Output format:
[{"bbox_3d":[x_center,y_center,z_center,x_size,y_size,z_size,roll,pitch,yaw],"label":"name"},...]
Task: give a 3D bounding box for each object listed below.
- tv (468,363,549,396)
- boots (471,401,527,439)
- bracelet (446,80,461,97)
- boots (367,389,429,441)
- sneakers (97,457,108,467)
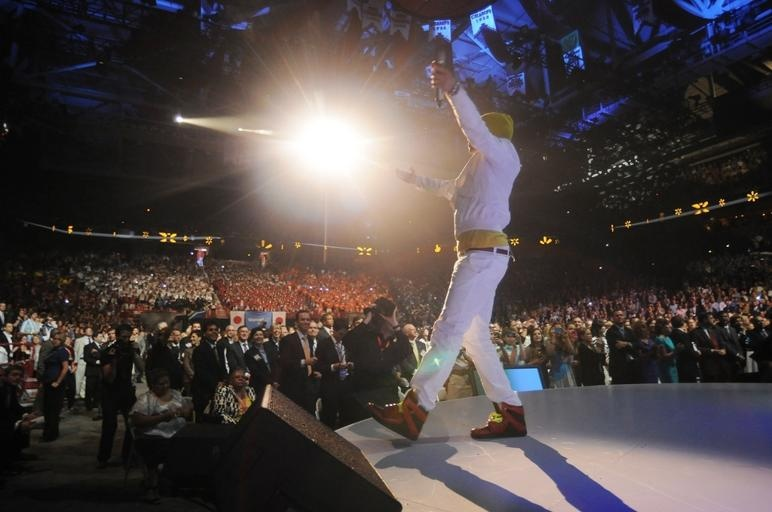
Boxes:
[{"bbox_3d":[2.065,2.082,8.199,1.201,0.669,0.649,2,-26,-18],"label":"tv"},{"bbox_3d":[1.453,2.340,6.922,0.984,0.573,0.339,0,-17,8],"label":"boots"},{"bbox_3d":[0.934,-2.272,6.701,0.209,0.155,0.188,-20,-33,6],"label":"bracelet"},{"bbox_3d":[0.167,2.134,6.675,0.729,0.619,0.261,26,5,20],"label":"boots"},{"bbox_3d":[-5.461,3.959,9.379,0.179,0.151,0.222,5,-15,-24],"label":"sneakers"}]
